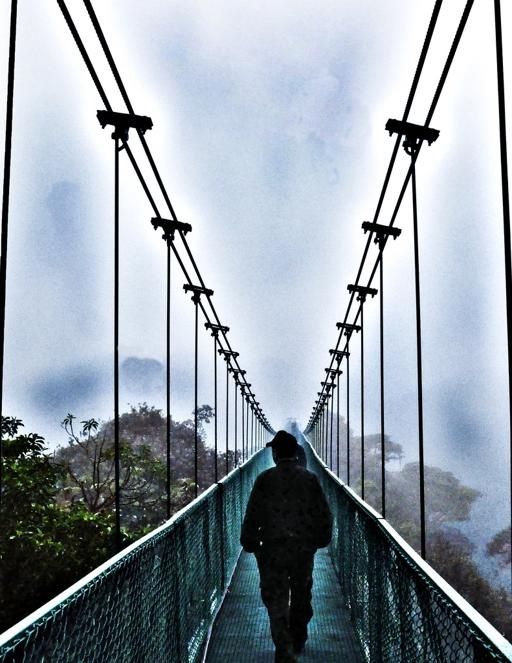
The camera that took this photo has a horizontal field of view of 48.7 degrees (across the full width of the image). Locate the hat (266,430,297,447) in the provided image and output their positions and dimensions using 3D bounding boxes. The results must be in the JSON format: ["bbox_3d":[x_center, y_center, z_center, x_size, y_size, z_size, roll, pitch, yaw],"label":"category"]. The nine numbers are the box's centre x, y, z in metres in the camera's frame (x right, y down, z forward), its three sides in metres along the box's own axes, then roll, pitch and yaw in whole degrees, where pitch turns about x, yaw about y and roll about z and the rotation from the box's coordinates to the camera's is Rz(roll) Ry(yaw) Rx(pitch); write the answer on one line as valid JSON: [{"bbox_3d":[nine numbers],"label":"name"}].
[{"bbox_3d":[0.144,0.545,2.945,0.119,0.100,0.107,9,-17,-1],"label":"hat"}]
